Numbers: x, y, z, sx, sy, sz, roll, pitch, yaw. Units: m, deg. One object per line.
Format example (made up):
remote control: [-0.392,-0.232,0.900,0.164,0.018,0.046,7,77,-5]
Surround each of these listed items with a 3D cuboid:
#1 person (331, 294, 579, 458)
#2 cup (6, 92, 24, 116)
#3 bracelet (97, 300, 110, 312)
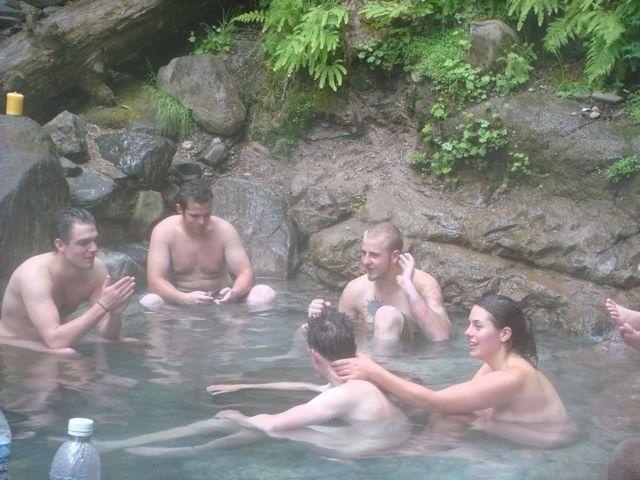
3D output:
person: [1.431,1.117,6.285,1.867,1.262,1.070,-7,12,39]
cup: [-4.057,-1.789,9.106,0.188,0.277,0.446,2,20,-21]
bracelet: [-2.104,0.656,6.658,0.104,0.026,0.077,42,-14,2]
